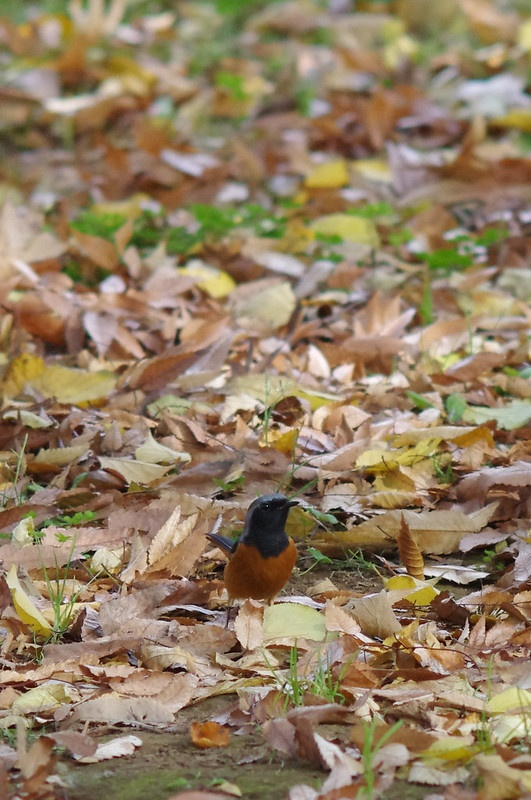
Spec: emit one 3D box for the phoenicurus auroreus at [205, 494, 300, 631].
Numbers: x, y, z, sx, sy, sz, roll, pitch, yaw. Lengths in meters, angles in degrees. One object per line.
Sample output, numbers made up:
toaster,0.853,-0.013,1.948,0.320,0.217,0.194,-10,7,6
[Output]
phoenicurus auroreus,-0.039,0.290,1.540,0.125,0.217,0.321,5,-10,-31
